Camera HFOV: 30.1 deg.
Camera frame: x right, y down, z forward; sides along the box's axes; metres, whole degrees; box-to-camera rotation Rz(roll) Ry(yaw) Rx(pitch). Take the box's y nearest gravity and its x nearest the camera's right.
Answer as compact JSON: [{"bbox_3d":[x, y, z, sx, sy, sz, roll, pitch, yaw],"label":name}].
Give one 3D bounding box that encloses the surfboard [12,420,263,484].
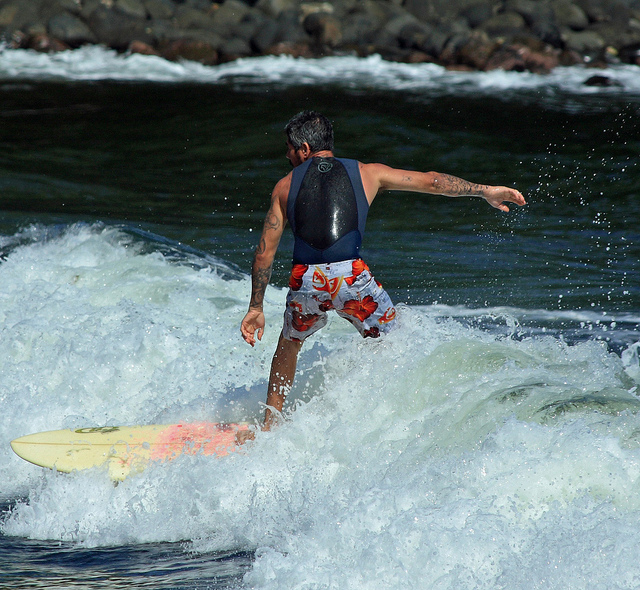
[{"bbox_3d":[-1.450,1.214,9.497,0.282,2.346,0.474,12,90,45],"label":"surfboard"}]
